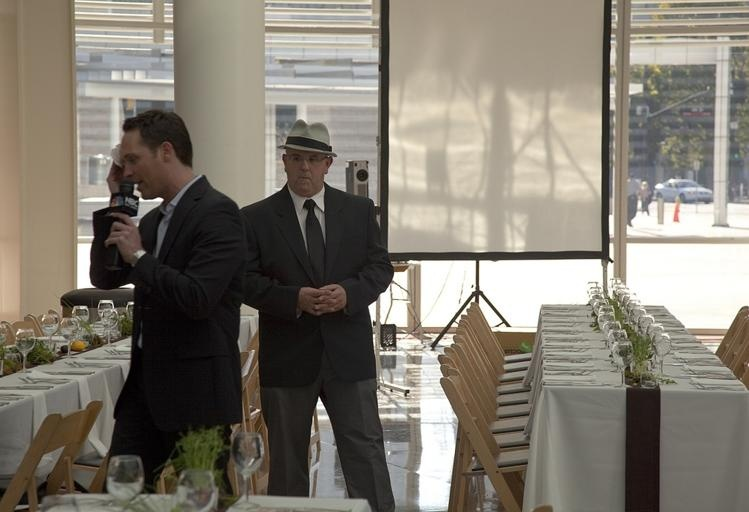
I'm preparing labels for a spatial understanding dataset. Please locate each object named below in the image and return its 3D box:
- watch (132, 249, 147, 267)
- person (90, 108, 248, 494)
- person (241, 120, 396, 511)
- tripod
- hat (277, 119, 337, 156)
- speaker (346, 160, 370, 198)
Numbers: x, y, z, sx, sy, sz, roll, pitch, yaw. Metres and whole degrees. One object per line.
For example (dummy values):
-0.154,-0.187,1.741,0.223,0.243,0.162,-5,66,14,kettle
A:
-1.285,0.013,4.655,0.056,0.088,0.020,23,2,4,watch
-1.134,0.257,4.802,0.932,2.052,0.496,8,8,-2,person
-0.359,0.405,5.506,1.161,2.436,0.660,10,8,10,person
1.275,0.647,11.309,1.021,1.801,1.015,0,-4,-2,tripod
-0.416,-0.773,5.687,0.353,0.226,0.512,7,1,5,hat
-0.177,-0.825,9.396,0.213,0.445,0.258,-2,6,-4,speaker
